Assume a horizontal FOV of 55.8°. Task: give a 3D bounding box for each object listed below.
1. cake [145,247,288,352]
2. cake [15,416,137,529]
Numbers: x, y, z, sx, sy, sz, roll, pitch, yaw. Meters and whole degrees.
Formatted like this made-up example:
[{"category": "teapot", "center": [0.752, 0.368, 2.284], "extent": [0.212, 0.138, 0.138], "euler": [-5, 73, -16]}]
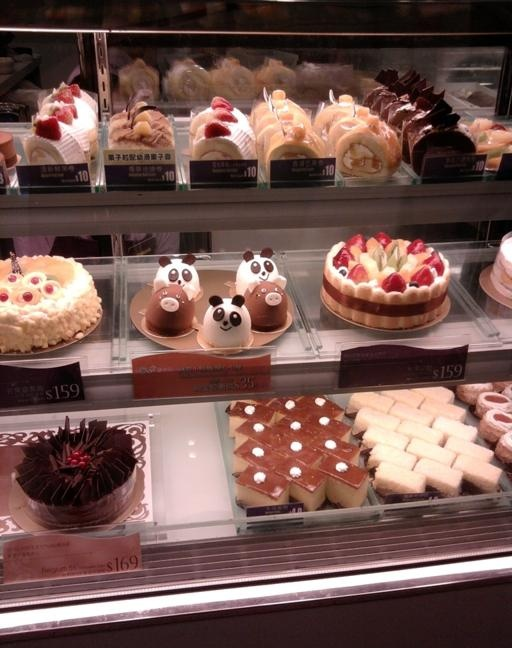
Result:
[{"category": "cake", "center": [-0.091, -0.063, 1.177], "extent": [0.356, 0.135, 0.379], "euler": [2, 29, 3]}, {"category": "cake", "center": [-0.475, 0.391, 1.349], "extent": [0.317, 0.109, 0.298], "euler": [16, 38, 14]}]
